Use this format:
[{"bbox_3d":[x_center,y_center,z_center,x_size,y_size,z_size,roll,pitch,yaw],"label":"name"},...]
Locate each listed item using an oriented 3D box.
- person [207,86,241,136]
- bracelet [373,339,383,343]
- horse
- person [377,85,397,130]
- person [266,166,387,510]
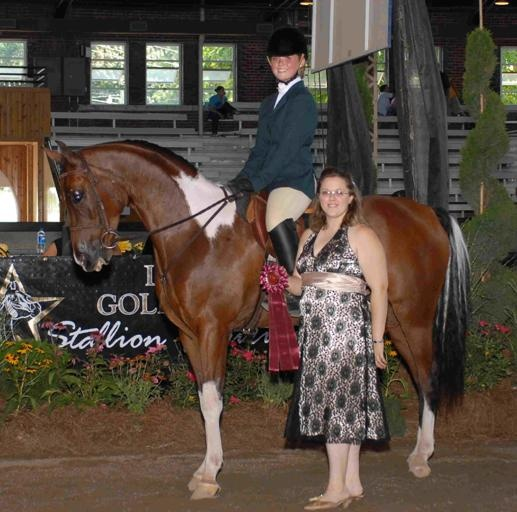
[{"bbox_3d":[-1.008,-4.034,22.609,0.945,1.255,0.628,-2,11,21],"label":"person"},{"bbox_3d":[0.847,0.595,5.806,0.066,0.038,0.045,0,6,-1],"label":"bracelet"},{"bbox_3d":[0.136,0.474,6.750,3.496,2.627,0.878,0,-3,-14],"label":"horse"},{"bbox_3d":[3.416,-3.969,21.426,0.649,1.107,0.485,-16,22,-10],"label":"person"},{"bbox_3d":[0.572,0.590,5.915,0.736,2.430,0.496,1,6,9],"label":"person"}]
